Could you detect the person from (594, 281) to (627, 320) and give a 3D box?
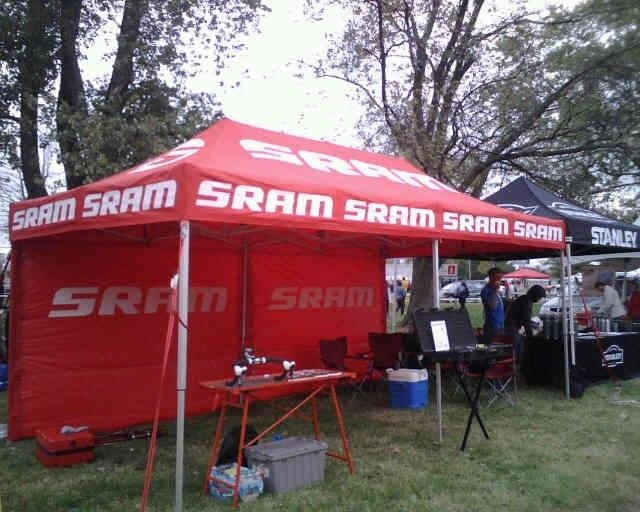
[{"bbox_3d":[6.465,0.976,12.788,0.977,0.865,0.659,-12,7,-43],"label":"person"}]

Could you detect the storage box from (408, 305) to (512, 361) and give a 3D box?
[{"bbox_3d":[1.613,0.958,7.108,1.153,0.635,0.559,-2,4,-32],"label":"storage box"}]

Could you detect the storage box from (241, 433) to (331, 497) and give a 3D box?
[{"bbox_3d":[-0.335,2.181,6.204,0.633,0.356,0.462,7,-10,-42],"label":"storage box"}]

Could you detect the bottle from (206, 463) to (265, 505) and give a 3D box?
[{"bbox_3d":[-0.876,2.280,5.978,0.529,0.295,0.373,1,3,26],"label":"bottle"}]

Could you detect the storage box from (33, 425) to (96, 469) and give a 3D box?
[{"bbox_3d":[-3.014,2.175,6.789,0.460,0.297,0.451,9,-9,-41],"label":"storage box"}]

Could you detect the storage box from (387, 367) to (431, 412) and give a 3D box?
[{"bbox_3d":[1.280,2.029,8.945,0.616,0.530,0.474,-11,-13,40],"label":"storage box"}]
